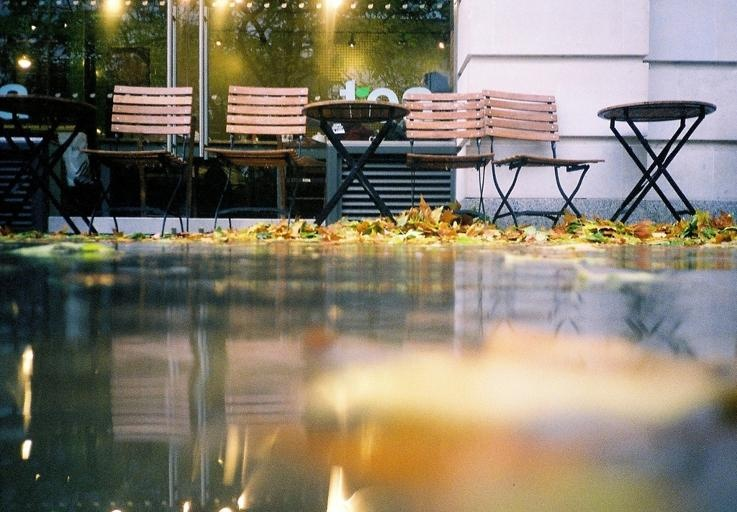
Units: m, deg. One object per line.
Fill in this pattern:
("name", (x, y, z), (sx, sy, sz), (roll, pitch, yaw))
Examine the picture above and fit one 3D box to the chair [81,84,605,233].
("chair", (0.330, -0.775, 6.622), (2.729, 1.048, 1.538), (-2, 8, -17))
